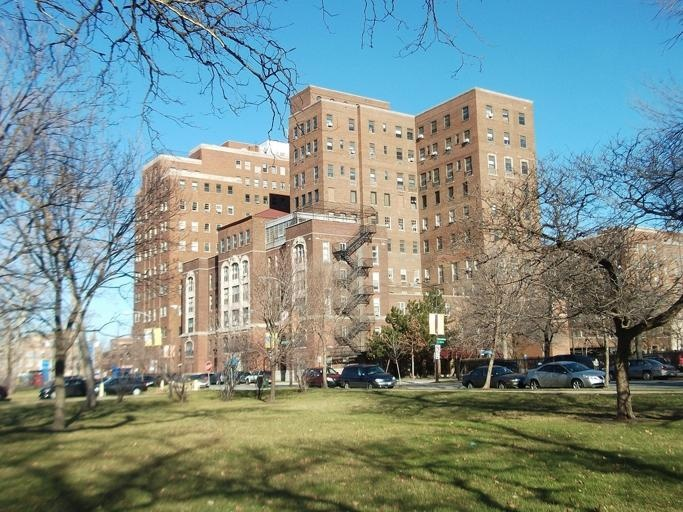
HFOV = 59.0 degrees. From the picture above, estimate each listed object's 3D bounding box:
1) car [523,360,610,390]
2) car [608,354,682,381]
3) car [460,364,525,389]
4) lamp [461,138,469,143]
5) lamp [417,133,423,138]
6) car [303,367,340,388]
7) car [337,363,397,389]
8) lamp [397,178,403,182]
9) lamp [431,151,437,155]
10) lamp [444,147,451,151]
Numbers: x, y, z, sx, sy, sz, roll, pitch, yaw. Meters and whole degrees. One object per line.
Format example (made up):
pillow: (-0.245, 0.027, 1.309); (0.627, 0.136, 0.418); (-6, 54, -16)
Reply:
car: (13.006, 6.895, 35.054); (1.322, 1.621, 4.507); (8, -18, -43)
car: (23.484, 8.453, 45.546); (2.930, 1.629, 1.779); (-5, -13, 8)
car: (10.036, 7.894, 39.470); (1.810, 1.532, 4.420); (4, -15, -31)
lamp: (17.106, -15.922, 82.633); (0.172, 0.690, 0.700); (14, -17, -43)
lamp: (11.829, -18.068, 90.427); (0.401, 0.865, 1.040); (9, -17, -44)
car: (-1.255, 9.824, 50.196); (3.334, 1.664, 1.956); (-17, -20, 42)
car: (2.077, 8.950, 45.349); (1.921, 1.476, 3.455); (9, -20, -33)
lamp: (8.561, -11.417, 89.219); (0.674, 0.643, 0.162); (6, 5, 12)
lamp: (13.613, -15.176, 88.156); (0.602, 0.618, 1.089); (-5, 11, -24)
lamp: (15.126, -15.385, 85.516); (0.554, 0.529, 0.543); (2, -5, -37)
